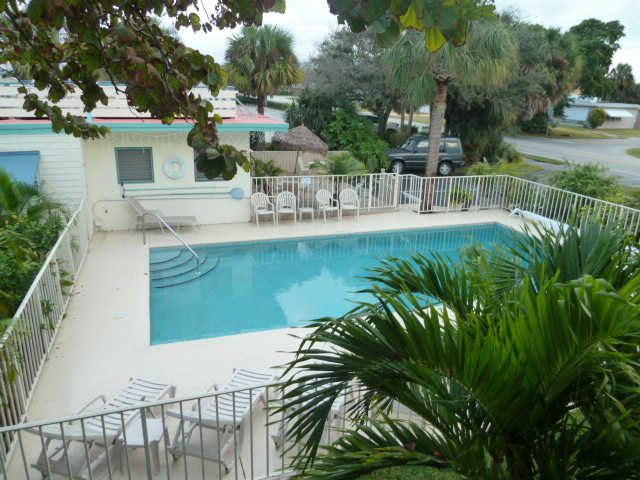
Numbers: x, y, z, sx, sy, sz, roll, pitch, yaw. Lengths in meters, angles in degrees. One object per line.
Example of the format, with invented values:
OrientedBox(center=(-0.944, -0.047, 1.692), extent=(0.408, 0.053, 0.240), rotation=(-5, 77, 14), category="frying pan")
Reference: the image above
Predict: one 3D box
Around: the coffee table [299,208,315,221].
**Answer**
OrientedBox(center=(-0.403, -0.806, 13.665), extent=(0.448, 0.479, 0.365), rotation=(-3, 9, -12), category="coffee table")

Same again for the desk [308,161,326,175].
OrientedBox(center=(-0.053, -2.539, 16.618), extent=(0.577, 0.563, 2.288), rotation=(0, 13, 0), category="desk")

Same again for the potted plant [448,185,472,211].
OrientedBox(center=(4.694, -1.310, 15.175), extent=(0.924, 0.707, 0.579), rotation=(-12, 17, -41), category="potted plant")

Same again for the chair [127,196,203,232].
OrientedBox(center=(-4.079, -0.557, 11.992), extent=(1.556, 0.742, 0.844), rotation=(1, 23, -13), category="chair")

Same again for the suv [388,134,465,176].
OrientedBox(center=(5.093, -3.470, 21.566), extent=(3.723, 2.029, 2.343), rotation=(2, 17, -2), category="suv")
